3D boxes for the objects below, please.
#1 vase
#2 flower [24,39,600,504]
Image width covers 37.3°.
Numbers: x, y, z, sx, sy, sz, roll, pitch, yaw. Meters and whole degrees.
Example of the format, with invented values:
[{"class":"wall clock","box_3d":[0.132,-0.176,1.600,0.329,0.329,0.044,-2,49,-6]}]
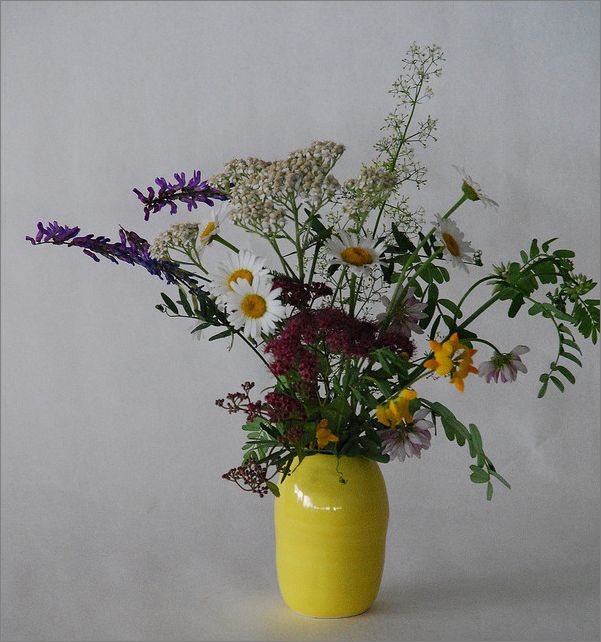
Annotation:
[{"class":"vase","box_3d":[0.070,0.440,1.886,0.239,0.330,0.228,4,8,13]},{"class":"flower","box_3d":[0.052,-0.004,1.675,0.790,0.548,1.130,16,2,2]}]
